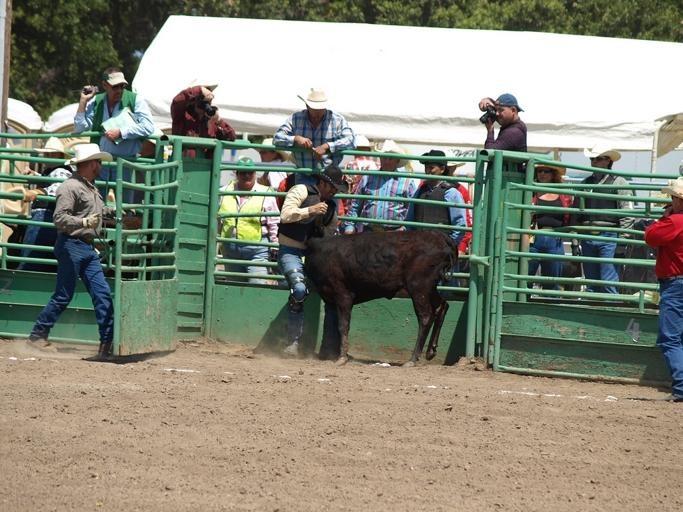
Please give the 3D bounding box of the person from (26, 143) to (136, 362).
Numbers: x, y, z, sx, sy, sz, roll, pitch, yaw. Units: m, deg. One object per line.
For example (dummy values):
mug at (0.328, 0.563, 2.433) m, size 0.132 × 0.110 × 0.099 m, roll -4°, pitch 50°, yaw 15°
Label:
person at (-3.189, -0.066, 13.884) m, size 0.949 × 1.871 × 0.717 m, roll 6°, pitch -3°, yaw -15°

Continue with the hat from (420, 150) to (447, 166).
hat at (1.176, -1.310, 14.848) m, size 0.334 × 0.105 × 0.228 m, roll 15°, pitch -10°, yaw -33°

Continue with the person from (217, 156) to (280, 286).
person at (-1.258, -0.526, 15.355) m, size 0.835 × 1.802 × 1.537 m, roll 5°, pitch -3°, yaw -4°

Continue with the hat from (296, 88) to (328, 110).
hat at (-0.320, -2.030, 14.655) m, size 0.445 × 0.167 × 0.442 m, roll 1°, pitch 9°, yaw -4°

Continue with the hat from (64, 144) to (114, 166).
hat at (-3.062, -1.252, 13.921) m, size 0.395 × 0.136 × 0.367 m, roll -7°, pitch -3°, yaw 11°

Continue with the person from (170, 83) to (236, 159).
person at (-1.878, -1.948, 15.475) m, size 0.629 × 0.571 × 0.824 m, roll 3°, pitch -3°, yaw 32°

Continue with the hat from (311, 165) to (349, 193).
hat at (-0.130, -0.961, 14.012) m, size 0.402 × 0.195 × 0.279 m, roll 32°, pitch 9°, yaw 14°

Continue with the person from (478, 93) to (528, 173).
person at (2.109, -1.615, 14.612) m, size 0.620 × 1.129 × 1.084 m, roll 5°, pitch -3°, yaw 2°

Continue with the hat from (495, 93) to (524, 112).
hat at (2.266, -2.005, 14.752) m, size 0.497 × 0.230 × 0.310 m, roll 4°, pitch 5°, yaw -28°

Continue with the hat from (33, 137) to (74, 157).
hat at (-3.893, -1.489, 15.364) m, size 0.328 × 0.134 × 0.378 m, roll 4°, pitch -2°, yaw 5°

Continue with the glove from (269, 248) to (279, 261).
glove at (-0.929, -0.030, 15.572) m, size 0.180 × 0.204 × 0.118 m, roll 0°, pitch -16°, yaw -5°

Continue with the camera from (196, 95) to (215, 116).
camera at (-1.836, -2.020, 15.310) m, size 0.175 × 0.168 × 0.373 m, roll 4°, pitch -3°, yaw 14°

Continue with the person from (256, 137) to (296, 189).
person at (-0.876, -1.250, 15.439) m, size 0.384 × 0.431 × 0.821 m, roll -21°, pitch -30°, yaw 5°

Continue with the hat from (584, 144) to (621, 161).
hat at (3.636, -1.407, 15.495) m, size 0.353 × 0.114 × 0.352 m, roll 7°, pitch -2°, yaw -38°

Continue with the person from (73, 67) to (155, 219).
person at (-3.025, -1.490, 15.003) m, size 1.187 × 1.764 × 0.747 m, roll 1°, pitch 4°, yaw 10°

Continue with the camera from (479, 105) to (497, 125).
camera at (1.964, -1.857, 14.924) m, size 0.225 × 0.232 × 0.083 m, roll 49°, pitch -3°, yaw 27°

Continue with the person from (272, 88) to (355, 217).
person at (-0.386, -1.532, 15.010) m, size 0.876 × 0.532 × 1.399 m, roll 2°, pitch -28°, yaw -1°
